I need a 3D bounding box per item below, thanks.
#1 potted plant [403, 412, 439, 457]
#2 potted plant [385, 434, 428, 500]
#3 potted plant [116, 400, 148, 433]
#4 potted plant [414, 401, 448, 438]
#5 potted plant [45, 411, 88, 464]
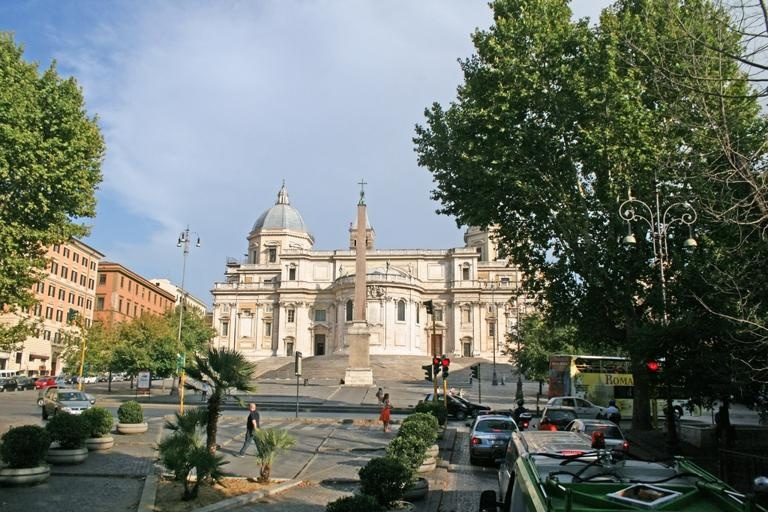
[{"bbox_3d":[1.435,7.332,30.553,1.298,1.368,1.603,-5,-17,30],"label":"potted plant"},{"bbox_3d":[0.746,7.707,26.187,1.356,2.100,1.394,-2,-1,27],"label":"potted plant"},{"bbox_3d":[-12.272,7.956,35.766,1.612,1.576,1.586,1,-7,-1],"label":"potted plant"},{"bbox_3d":[2.487,8.590,38.400,1.767,1.738,1.668,9,-12,-37],"label":"potted plant"},{"bbox_3d":[-12.664,7.325,29.369,1.434,2.198,1.322,1,-2,1],"label":"potted plant"}]
